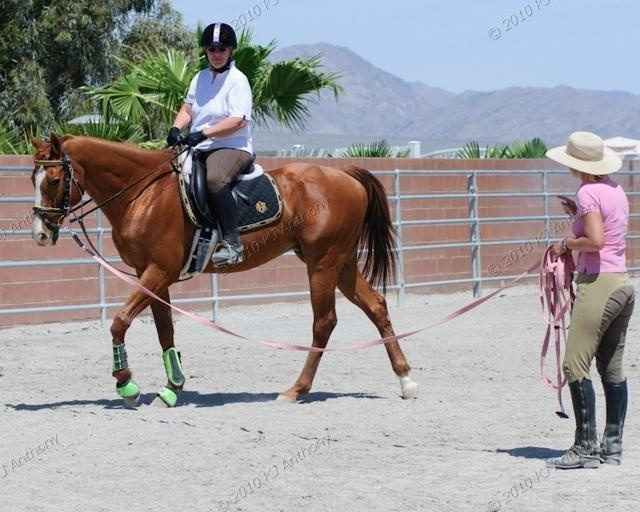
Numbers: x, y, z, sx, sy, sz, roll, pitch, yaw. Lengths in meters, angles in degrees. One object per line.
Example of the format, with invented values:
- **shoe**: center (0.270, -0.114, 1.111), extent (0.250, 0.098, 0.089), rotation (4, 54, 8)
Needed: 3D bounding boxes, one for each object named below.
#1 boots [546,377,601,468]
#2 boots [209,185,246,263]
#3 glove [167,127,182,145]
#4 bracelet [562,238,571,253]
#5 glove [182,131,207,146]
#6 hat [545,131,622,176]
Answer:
- **boots**: center (2.229, 1.467, 11.130), extent (0.493, 0.776, 0.286), rotation (-2, 11, -13)
- **boots**: center (-0.909, -0.285, 12.455), extent (0.327, 0.790, 0.212), rotation (-1, 11, -8)
- **glove**: center (-1.422, -1.163, 12.467), extent (0.140, 0.173, 0.247), rotation (-1, 11, -6)
- **bracelet**: center (2.170, -0.090, 11.225), extent (0.038, 0.096, 0.081), rotation (-3, -2, -33)
- **glove**: center (-1.219, -1.155, 12.368), extent (0.186, 0.079, 0.139), rotation (-14, 15, -15)
- **hat**: center (2.318, -0.928, 11.121), extent (0.622, 0.224, 0.663), rotation (17, -9, 0)
